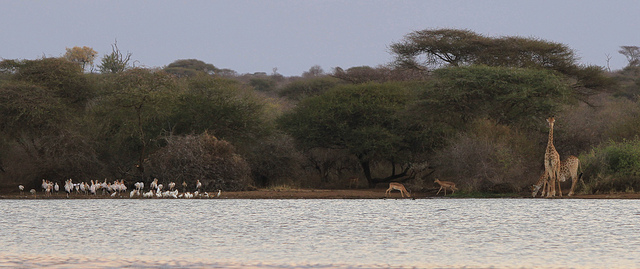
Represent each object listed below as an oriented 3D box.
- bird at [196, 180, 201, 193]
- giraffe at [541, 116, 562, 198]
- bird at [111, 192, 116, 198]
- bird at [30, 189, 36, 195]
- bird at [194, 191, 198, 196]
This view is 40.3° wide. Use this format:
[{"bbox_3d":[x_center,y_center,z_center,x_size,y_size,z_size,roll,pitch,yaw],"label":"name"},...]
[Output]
[{"bbox_3d":[-14.749,6.393,106.394,0.619,1.583,0.793,-2,1,-30],"label":"bird"},{"bbox_3d":[28.110,2.733,104.503,1.971,9.738,2.486,3,13,12],"label":"giraffe"},{"bbox_3d":[-25.195,7.356,105.898,0.571,0.446,0.225,-15,14,10],"label":"bird"},{"bbox_3d":[-35.217,6.986,106.148,0.726,0.284,0.677,-24,-29,8],"label":"bird"},{"bbox_3d":[-15.055,7.180,105.260,0.384,0.614,0.933,-2,11,-10],"label":"bird"}]
